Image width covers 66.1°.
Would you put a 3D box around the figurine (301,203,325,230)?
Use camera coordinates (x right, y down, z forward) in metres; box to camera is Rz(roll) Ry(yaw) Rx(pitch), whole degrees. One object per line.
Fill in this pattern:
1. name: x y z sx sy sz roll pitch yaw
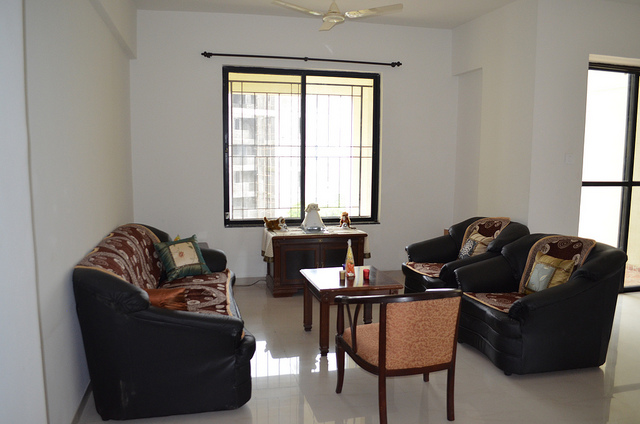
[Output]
1. figurine: -0.093 0.041 6.870 0.411 0.353 0.402 7 12 16

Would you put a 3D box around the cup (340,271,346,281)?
1. cup: 0.244 0.685 5.268 0.064 0.082 0.065 1 5 0

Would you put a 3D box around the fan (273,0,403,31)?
1. fan: 0.202 -2.050 5.090 1.281 0.252 0.384 -2 5 6

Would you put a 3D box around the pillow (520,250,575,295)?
1. pillow: 2.391 0.676 5.172 0.150 0.511 0.552 33 -9 -16

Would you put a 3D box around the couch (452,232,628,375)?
1. couch: 2.287 0.883 5.357 1.523 1.244 1.534 -1 7 0

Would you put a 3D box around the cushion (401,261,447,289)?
1. cushion: 1.390 0.785 6.305 0.682 0.185 0.722 -9 -7 21

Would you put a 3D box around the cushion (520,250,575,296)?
1. cushion: 2.383 0.628 5.098 0.134 0.443 0.451 23 -8 -30

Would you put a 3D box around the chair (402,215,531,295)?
1. chair: 1.762 0.662 6.321 1.308 1.394 1.182 0 2 -15

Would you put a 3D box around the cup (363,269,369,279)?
1. cup: 0.508 0.677 5.377 0.068 0.093 0.070 1 -4 0

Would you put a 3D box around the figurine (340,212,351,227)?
1. figurine: 0.395 0.108 7.178 0.159 0.223 0.168 2 0 12

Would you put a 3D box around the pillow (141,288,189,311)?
1. pillow: -1.298 0.743 4.208 0.304 0.082 0.196 12 36 -33

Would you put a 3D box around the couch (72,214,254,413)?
1. couch: -1.416 0.459 4.528 1.367 1.225 2.269 -2 10 -16

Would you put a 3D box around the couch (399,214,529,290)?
1. couch: 1.715 0.444 6.067 1.086 1.182 1.002 -1 5 -16

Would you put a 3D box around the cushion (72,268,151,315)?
1. cushion: -1.744 0.596 4.151 0.761 0.225 0.311 11 30 30

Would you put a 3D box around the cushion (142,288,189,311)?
1. cushion: -1.306 0.764 4.219 0.312 0.078 0.201 13 38 -33

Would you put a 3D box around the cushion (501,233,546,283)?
1. cushion: 2.298 0.489 5.519 0.140 0.490 0.430 25 -14 -18

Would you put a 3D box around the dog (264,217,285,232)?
1. dog: -0.634 0.182 6.825 0.321 0.199 0.122 -1 4 -19

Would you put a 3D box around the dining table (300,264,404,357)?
1. dining table: 0.291 0.857 5.191 0.933 0.702 0.937 -2 11 -14

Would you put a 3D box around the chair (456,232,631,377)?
1. chair: 2.247 0.911 5.142 1.427 1.240 0.959 -3 5 -8

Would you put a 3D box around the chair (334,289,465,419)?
1. chair: 0.669 1.181 4.454 1.094 1.144 1.051 -2 5 2
